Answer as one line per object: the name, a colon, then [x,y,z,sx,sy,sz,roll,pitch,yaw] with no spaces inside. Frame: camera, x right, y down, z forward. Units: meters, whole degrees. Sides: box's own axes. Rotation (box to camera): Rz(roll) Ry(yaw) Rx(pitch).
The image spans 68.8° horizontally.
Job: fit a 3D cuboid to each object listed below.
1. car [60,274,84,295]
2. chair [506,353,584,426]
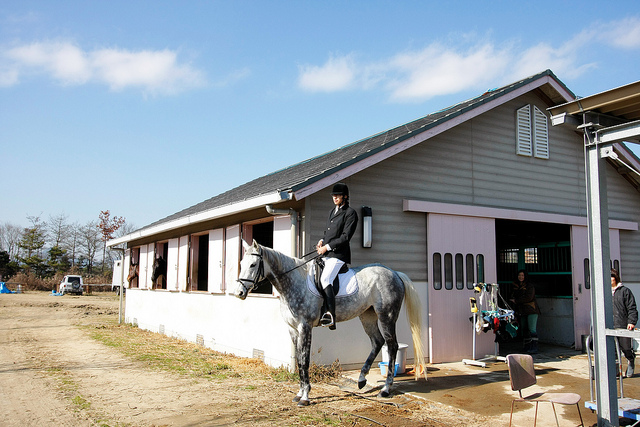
car: [-22.588,6.338,42.376,1.311,1.296,2.321,2,-2,-38]
chair: [3.459,2.819,7.328,1.008,1.263,0.977,-1,-4,15]
